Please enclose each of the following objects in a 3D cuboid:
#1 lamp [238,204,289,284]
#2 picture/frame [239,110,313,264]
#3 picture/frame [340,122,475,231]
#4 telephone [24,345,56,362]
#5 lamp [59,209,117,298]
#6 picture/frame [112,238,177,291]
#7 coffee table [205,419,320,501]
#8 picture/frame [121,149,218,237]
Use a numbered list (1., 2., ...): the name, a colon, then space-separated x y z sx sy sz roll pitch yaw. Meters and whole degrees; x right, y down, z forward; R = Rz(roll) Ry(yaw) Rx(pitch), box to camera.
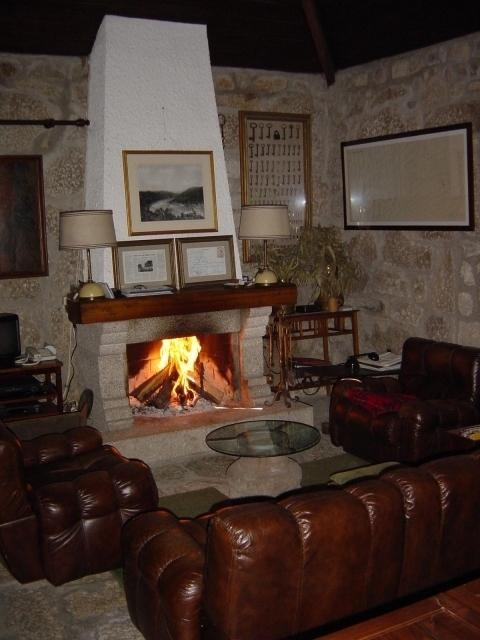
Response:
1. lamp: 0.200 -0.633 4.202 0.379 0.788 0.354 -3 11 -33
2. picture/frame: 0.486 -1.378 5.237 0.802 1.724 0.069 -5 10 -34
3. picture/frame: 1.706 -1.410 4.708 0.057 1.011 1.641 -7 12 -37
4. telephone: -1.699 0.291 3.990 0.168 0.077 0.185 -2 12 -22
5. lamp: -1.150 -0.503 3.547 0.391 0.671 0.418 -4 1 -29
6. picture/frame: -0.810 -0.473 3.971 0.531 0.413 0.061 -5 1 -26
7. coffee table: 0.129 0.850 3.166 0.712 0.501 0.747 0 9 -19
8. picture/frame: -0.600 -1.099 4.069 0.810 0.698 0.088 -4 1 -25
